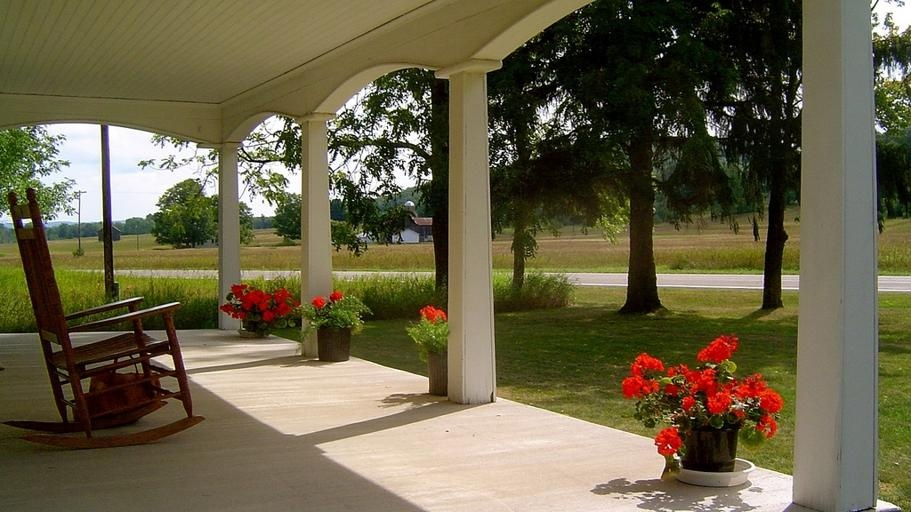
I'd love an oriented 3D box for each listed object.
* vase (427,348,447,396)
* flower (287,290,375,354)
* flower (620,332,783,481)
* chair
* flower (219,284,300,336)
[{"bbox_3d":[-0.160,1.317,7.370,0.128,0.497,0.298,-7,10,-44],"label":"vase"},{"bbox_3d":[-1.577,0.925,9.118,0.868,1.032,1.159,-3,-4,40],"label":"flower"},{"bbox_3d":[2.208,1.292,5.806,1.360,1.233,1.165,-3,-3,29],"label":"flower"},{"bbox_3d":[-3.604,0.512,6.517,1.425,2.332,2.090,-4,8,-30],"label":"chair"},{"bbox_3d":[-3.072,0.894,10.560,1.589,0.810,0.539,4,8,38],"label":"flower"}]
